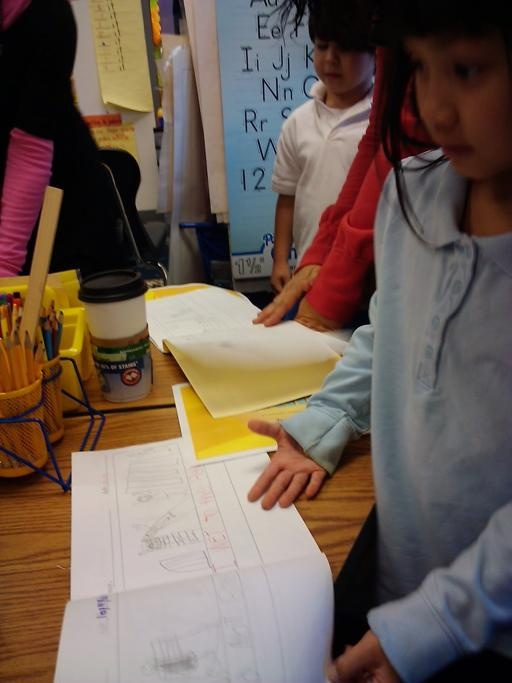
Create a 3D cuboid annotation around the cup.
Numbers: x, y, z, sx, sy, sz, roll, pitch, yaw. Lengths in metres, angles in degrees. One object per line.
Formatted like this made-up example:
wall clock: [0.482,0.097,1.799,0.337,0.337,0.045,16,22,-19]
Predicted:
cup: [-0.212,-0.004,0.799,0.112,0.197,0.118,-3,17,1]
